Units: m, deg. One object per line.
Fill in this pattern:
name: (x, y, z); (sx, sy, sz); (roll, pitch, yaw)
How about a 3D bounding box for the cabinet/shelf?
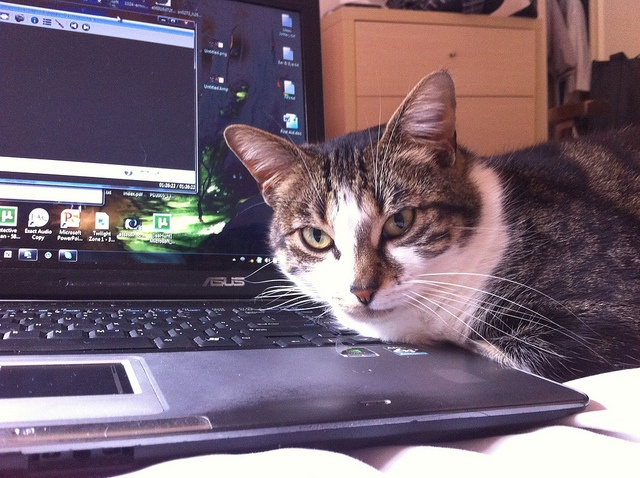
cabinet/shelf: (0.306, -0.466, 1.522); (0.633, 0.590, 0.242); (-1, -1, -17)
